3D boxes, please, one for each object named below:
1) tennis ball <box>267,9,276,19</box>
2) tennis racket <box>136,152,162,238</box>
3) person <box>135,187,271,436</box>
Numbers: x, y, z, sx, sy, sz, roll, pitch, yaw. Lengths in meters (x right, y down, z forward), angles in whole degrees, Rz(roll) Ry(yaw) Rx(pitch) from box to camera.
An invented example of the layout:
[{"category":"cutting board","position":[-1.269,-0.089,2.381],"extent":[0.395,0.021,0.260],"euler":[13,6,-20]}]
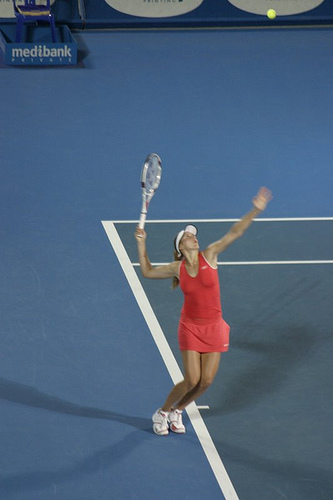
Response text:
[{"category":"tennis ball","position":[1.552,-3.564,8.477],"extent":[0.125,0.131,0.056],"euler":[1,12,7]},{"category":"tennis racket","position":[-0.198,-0.575,5.215],"extent":[0.042,0.818,0.214],"euler":[-4,-28,35]},{"category":"person","position":[0.298,0.587,5.283],"extent":[1.159,2.338,0.563],"euler":[-1,12,-1]}]
